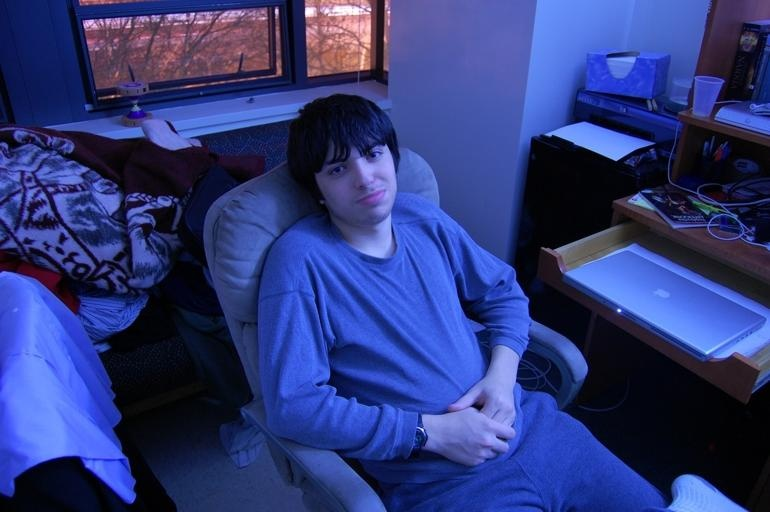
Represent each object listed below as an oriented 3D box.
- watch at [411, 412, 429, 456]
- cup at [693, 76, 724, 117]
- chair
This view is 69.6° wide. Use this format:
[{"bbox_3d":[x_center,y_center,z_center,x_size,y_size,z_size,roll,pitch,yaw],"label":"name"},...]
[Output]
[{"bbox_3d":[0.096,0.505,1.580,0.065,0.094,0.107,6,53,5],"label":"watch"},{"bbox_3d":[1.195,-0.619,2.051,0.096,0.111,0.095,16,0,0],"label":"cup"},{"bbox_3d":[-0.083,0.147,1.984,1.224,1.672,1.259,-34,37,-25],"label":"chair"}]
